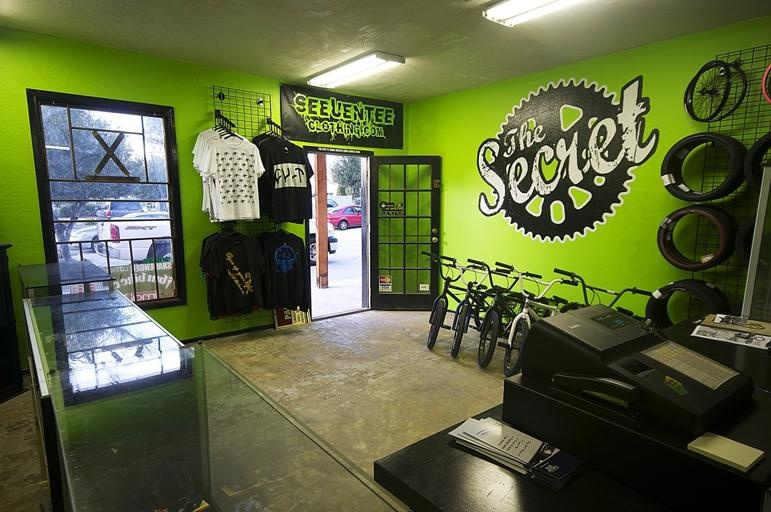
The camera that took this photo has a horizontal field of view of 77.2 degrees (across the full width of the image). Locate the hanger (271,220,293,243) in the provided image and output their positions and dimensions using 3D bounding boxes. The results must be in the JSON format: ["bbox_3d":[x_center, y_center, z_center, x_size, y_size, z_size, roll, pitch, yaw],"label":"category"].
[{"bbox_3d":[-1.197,-0.280,5.564,0.034,0.154,0.285,-22,-9,34],"label":"hanger"}]

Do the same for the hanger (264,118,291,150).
[{"bbox_3d":[-1.224,-1.429,5.544,0.231,0.164,0.550,11,18,-18],"label":"hanger"}]

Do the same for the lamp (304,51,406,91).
[{"bbox_3d":[-0.285,-2.002,5.230,0.552,0.223,1.212,-11,18,-38],"label":"lamp"}]

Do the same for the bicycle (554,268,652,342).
[{"bbox_3d":[1.818,0.307,4.121,0.943,0.575,0.746,-9,15,-44],"label":"bicycle"}]

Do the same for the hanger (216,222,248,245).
[{"bbox_3d":[-1.675,-0.262,5.291,0.217,0.085,0.289,-12,24,-34],"label":"hanger"}]

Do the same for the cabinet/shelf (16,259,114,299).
[{"bbox_3d":[-2.511,0.167,3.771,0.696,0.277,0.949,-1,8,-35],"label":"cabinet/shelf"}]

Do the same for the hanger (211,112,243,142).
[{"bbox_3d":[-1.689,-1.411,5.185,0.267,0.298,0.325,-5,15,-20],"label":"hanger"}]
